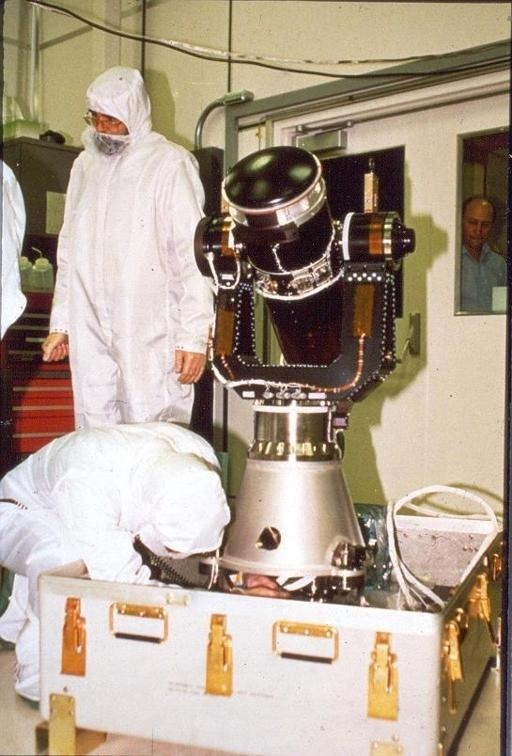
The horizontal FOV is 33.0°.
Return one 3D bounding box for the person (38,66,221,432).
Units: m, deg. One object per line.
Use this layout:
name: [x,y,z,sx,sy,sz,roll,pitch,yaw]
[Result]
person: [-0.291,-0.297,2.052,0.485,0.839,0.218,7,10,27]
